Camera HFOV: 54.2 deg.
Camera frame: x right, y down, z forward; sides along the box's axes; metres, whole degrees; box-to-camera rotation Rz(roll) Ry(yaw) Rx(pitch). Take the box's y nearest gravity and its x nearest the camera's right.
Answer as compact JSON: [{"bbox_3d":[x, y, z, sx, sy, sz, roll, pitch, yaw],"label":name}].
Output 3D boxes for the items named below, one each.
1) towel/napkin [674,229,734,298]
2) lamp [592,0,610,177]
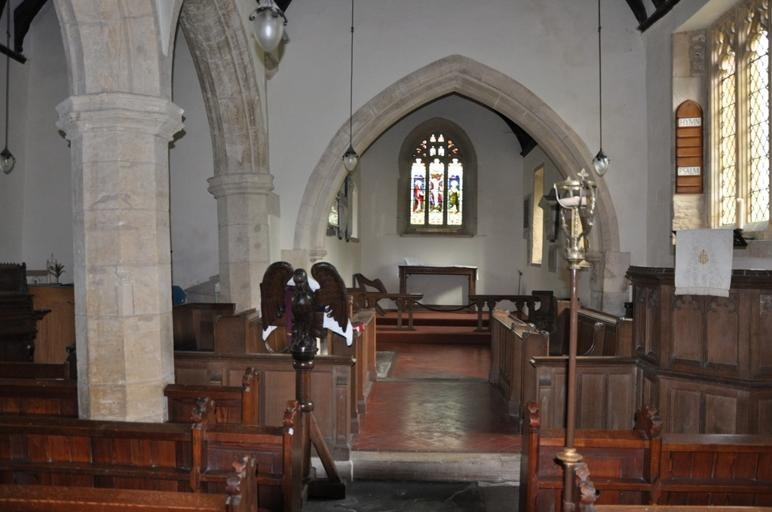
[{"bbox_3d":[3.525,0.111,8.309,0.726,0.963,0.103,1,-9,21],"label":"towel/napkin"},{"bbox_3d":[3.314,-2.613,11.721,0.239,2.821,0.754,-1,-5,16],"label":"lamp"}]
